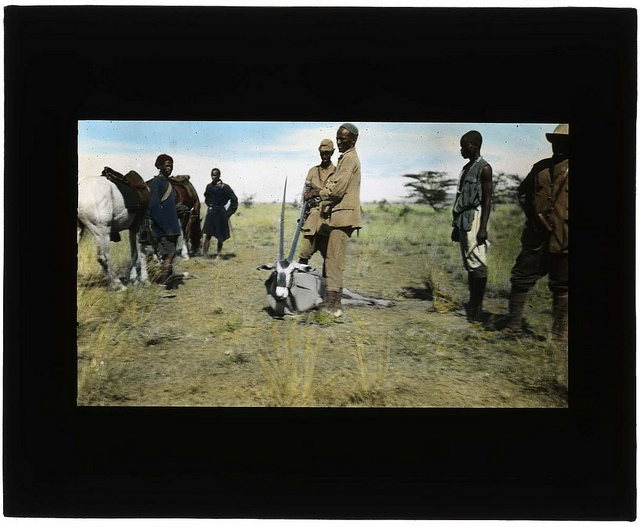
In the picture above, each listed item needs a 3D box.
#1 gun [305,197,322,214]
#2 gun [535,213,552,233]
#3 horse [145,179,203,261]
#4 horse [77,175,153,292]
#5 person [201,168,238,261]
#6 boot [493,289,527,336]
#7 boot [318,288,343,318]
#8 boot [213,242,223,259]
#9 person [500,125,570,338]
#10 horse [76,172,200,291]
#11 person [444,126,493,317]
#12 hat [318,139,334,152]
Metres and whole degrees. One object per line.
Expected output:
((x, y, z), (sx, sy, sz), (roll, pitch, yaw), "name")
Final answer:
((-0.074, -0.620, 5.896), (0.168, 0.173, 0.073), (4, 11, 3), "gun")
((2.271, -0.437, 5.730), (0.081, 0.265, 0.079), (-26, 2, -14), "gun")
((-1.435, -0.452, 5.982), (0.424, 0.819, 0.196), (11, 13, 35), "horse")
((-2.178, -0.324, 5.895), (0.672, 1.187, 0.538), (-1, 12, -22), "horse")
((-1.057, -0.507, 5.874), (0.373, 0.982, 0.229), (3, 11, -6), "person")
((1.945, 0.504, 5.753), (0.289, 0.449, 0.163), (6, 11, 14), "boot")
((0.113, 0.399, 5.838), (0.249, 0.265, 0.136), (4, 11, -1), "boot")
((-1.090, -0.138, 5.965), (0.107, 0.146, 0.048), (-2, -3, -2), "boot")
((2.266, -0.322, 5.664), (0.616, 2.143, 0.431), (7, 11, 14), "person")
((-2.160, -0.436, 6.435), (0.514, 1.303, 2.089), (7, 11, 27), "horse")
((1.548, -0.424, 5.739), (0.475, 1.930, 0.332), (5, 11, 9), "person")
((0.059, -1.202, 5.660), (0.104, 0.106, 0.139), (1, -1, 6), "hat")
